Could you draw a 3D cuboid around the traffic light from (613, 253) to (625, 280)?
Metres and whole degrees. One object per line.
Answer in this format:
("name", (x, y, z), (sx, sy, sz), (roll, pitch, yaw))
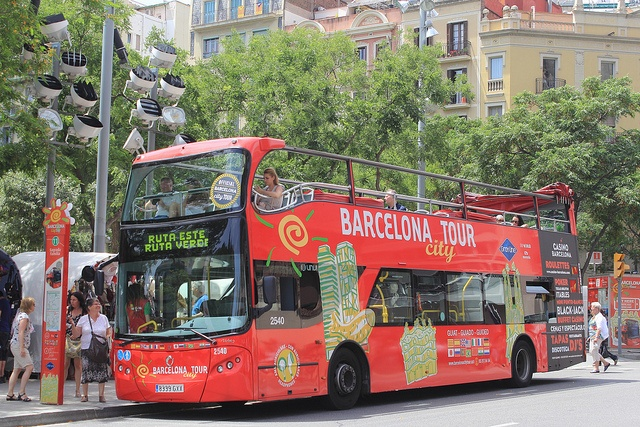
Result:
("traffic light", (11.769, 2.250, 34.900), (0.386, 1.121, 0.814), (10, 11, 17))

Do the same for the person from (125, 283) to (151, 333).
("person", (-4.531, 2.376, 20.695), (0.328, 1.170, 0.800), (-3, 15, -41))

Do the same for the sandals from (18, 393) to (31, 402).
("sandals", (-7.540, 4.783, 21.546), (0.367, 0.168, 0.140), (-4, -8, 33))

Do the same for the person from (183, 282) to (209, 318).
("person", (-2.995, 2.091, 20.236), (0.380, 0.883, 0.201), (5, 11, -8))

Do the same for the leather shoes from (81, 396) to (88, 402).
("leather shoes", (-6.084, 4.843, 21.659), (0.157, 0.203, 0.274), (4, 11, -15))

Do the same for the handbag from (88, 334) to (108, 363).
("handbag", (-5.769, 3.544, 21.631), (0.599, 0.651, 0.256), (11, -21, -40))

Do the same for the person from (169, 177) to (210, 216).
("person", (-3.259, -0.357, 20.653), (0.977, 1.010, 0.509), (14, 13, 33))

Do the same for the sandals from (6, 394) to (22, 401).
("sandals", (-7.796, 4.783, 21.528), (0.357, 0.167, 0.148), (1, -2, -16))

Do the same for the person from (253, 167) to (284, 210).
("person", (-1.394, -0.611, 21.016), (0.660, 0.960, 0.971), (7, 11, 2))
